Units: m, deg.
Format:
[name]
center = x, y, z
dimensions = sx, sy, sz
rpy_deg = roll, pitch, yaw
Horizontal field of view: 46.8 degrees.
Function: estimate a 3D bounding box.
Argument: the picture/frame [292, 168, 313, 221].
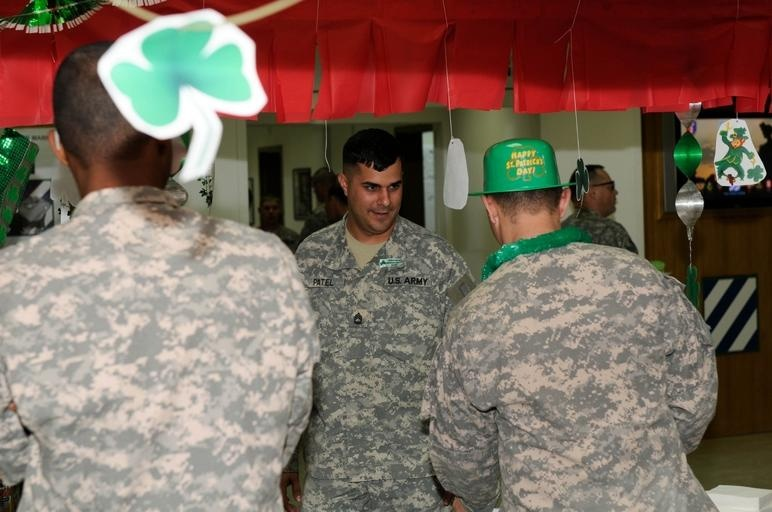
[picture/frame]
center = -0.714, -0.513, 7.431
dimensions = 0.156, 0.417, 0.027
rpy_deg = 3, -9, -16
